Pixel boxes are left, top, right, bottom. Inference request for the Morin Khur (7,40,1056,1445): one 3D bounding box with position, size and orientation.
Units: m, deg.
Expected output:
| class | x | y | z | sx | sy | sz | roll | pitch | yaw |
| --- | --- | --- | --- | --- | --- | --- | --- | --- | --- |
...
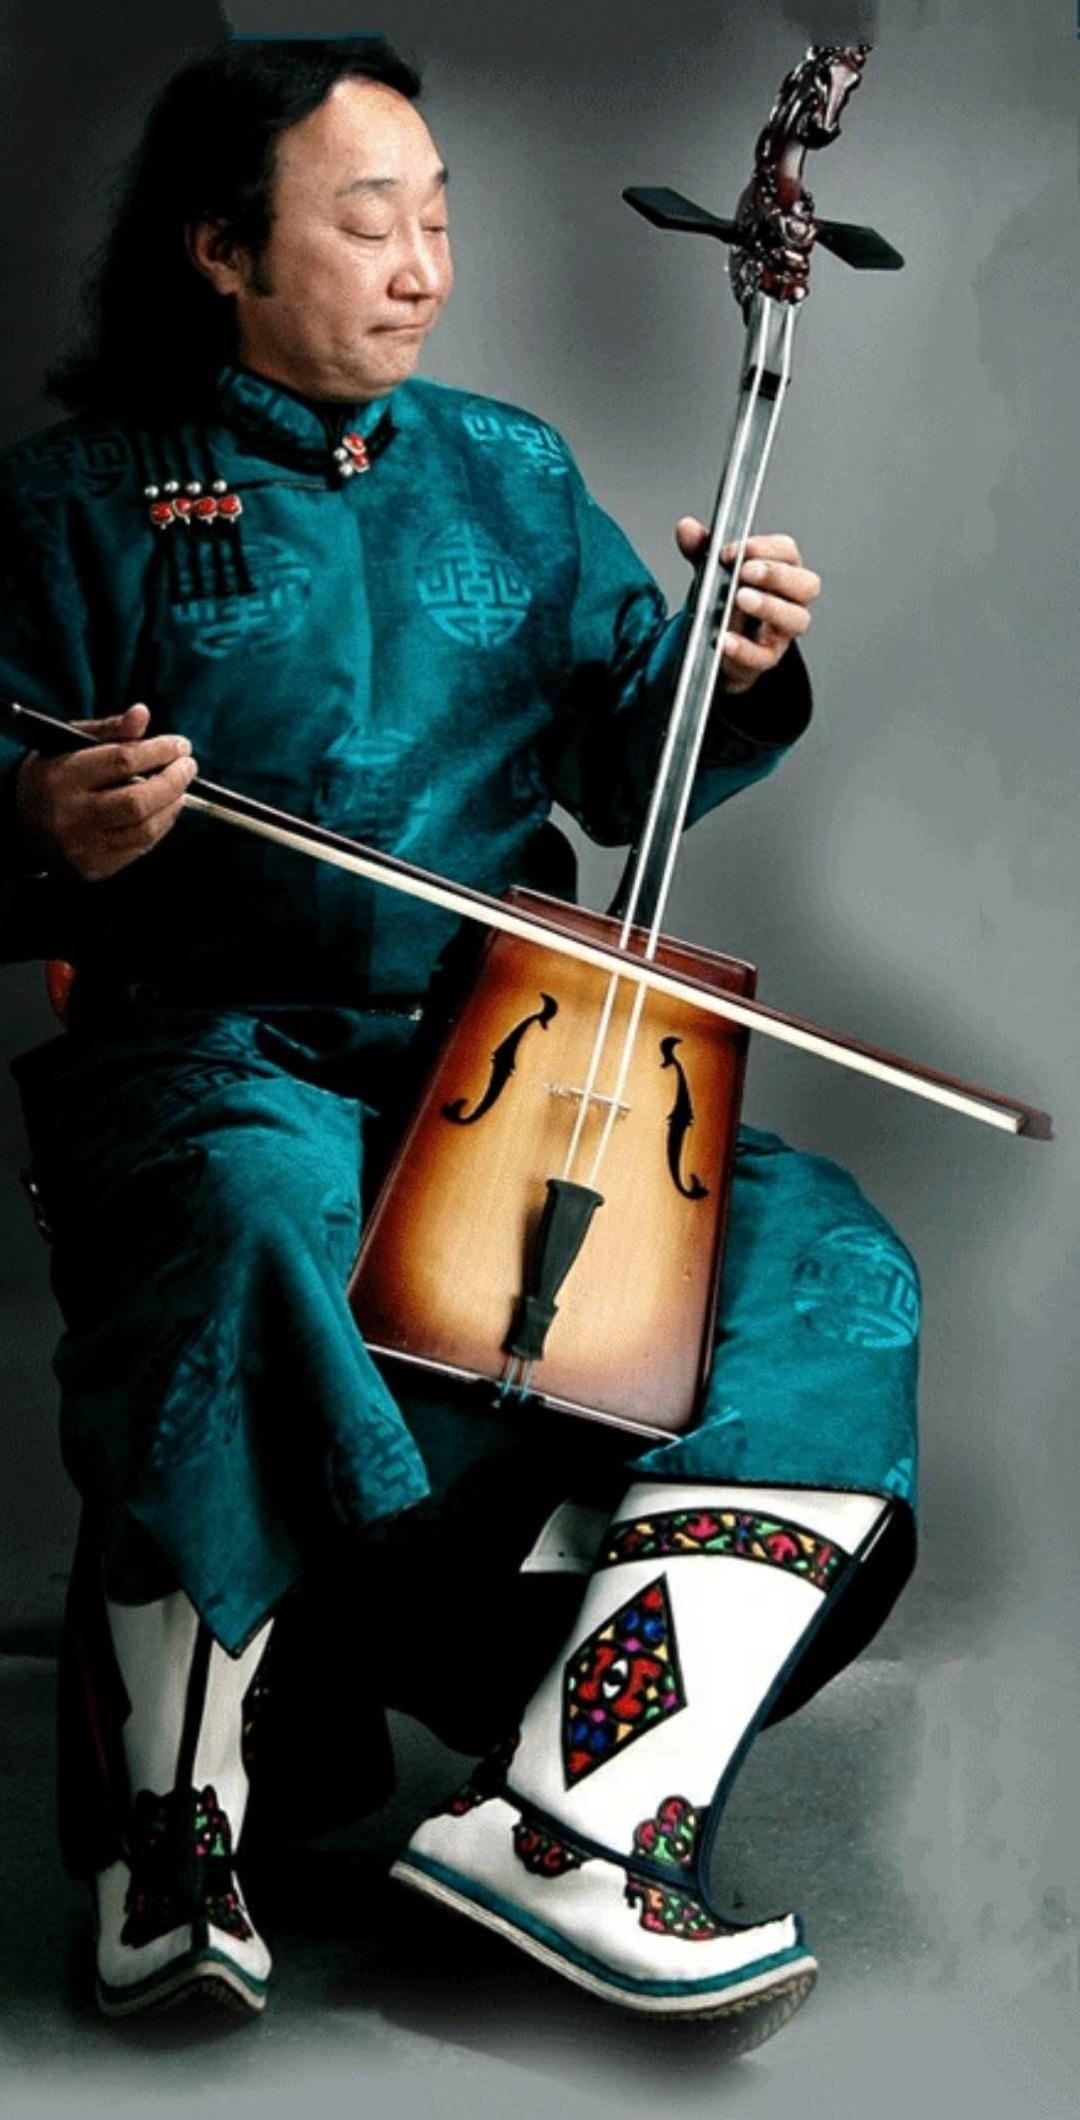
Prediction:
| class | x | y | z | sx | sy | sz | roll | pitch | yaw |
| --- | --- | --- | --- | --- | --- | --- | --- | --- | --- |
| Morin Khur | 0.051 | -0.203 | 0.933 | 0.364 | 0.731 | 0.341 | 6 | 17 | -21 |
